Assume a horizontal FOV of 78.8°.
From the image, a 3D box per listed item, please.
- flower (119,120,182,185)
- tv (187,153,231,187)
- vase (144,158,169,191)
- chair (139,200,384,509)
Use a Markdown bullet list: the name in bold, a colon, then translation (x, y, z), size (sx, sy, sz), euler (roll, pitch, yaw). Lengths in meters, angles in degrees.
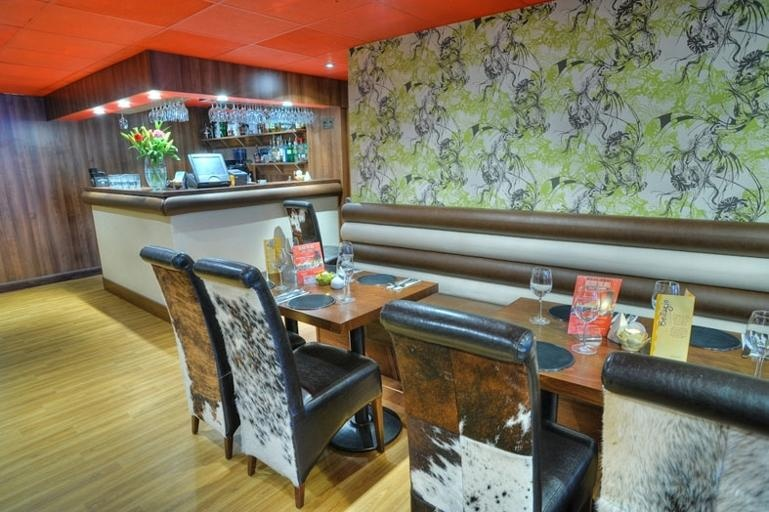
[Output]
- **flower**: translation (-2.720, -1.192, 5.548), size (0.532, 0.648, 0.617), euler (-5, 4, 10)
- **tv**: translation (-2.120, -1.054, 5.687), size (0.429, 0.404, 0.457), euler (-7, 13, -17)
- **vase**: translation (-2.679, -0.962, 5.493), size (0.217, 0.362, 0.366), euler (-10, 14, -25)
- **chair**: translation (-0.827, 0.735, 3.234), size (1.393, 1.677, 0.686), euler (2, 15, 24)
